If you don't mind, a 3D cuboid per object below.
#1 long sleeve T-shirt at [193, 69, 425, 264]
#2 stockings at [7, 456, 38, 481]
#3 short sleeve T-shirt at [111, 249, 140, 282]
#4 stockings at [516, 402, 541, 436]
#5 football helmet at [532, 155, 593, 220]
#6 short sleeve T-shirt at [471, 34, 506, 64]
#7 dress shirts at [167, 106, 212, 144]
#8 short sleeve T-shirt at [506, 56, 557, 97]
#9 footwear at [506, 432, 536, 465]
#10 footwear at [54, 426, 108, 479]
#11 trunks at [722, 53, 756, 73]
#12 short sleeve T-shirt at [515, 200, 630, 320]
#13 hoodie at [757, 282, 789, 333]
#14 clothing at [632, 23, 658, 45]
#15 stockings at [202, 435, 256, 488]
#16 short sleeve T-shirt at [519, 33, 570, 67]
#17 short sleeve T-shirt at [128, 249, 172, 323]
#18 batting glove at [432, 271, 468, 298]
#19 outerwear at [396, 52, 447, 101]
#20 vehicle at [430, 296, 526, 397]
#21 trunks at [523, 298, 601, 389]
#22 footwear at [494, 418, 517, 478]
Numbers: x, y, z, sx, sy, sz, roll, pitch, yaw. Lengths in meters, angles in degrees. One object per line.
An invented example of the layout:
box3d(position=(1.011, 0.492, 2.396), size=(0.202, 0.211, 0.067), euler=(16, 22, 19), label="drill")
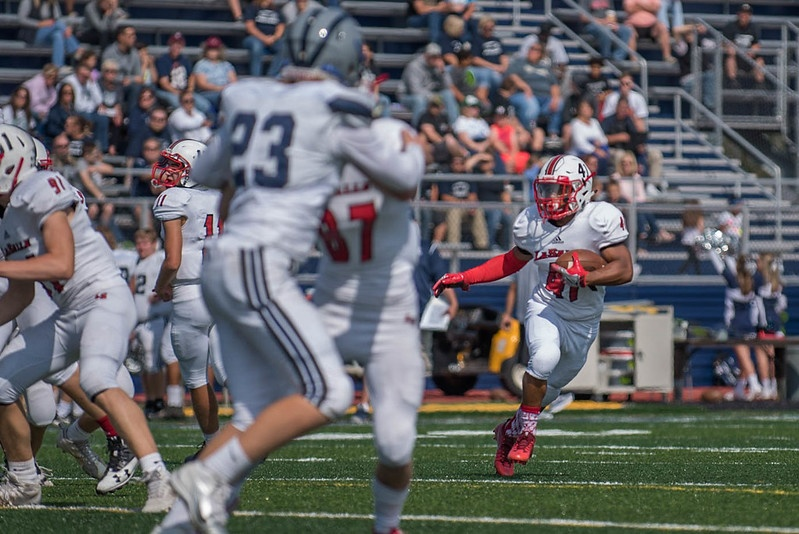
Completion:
box3d(position=(-0.818, -0.773, 13.775), size=(1.604, 1.406, 0.587), euler=(15, -10, 7), label="long sleeve T-shirt")
box3d(position=(-3.212, 1.728, 14.800), size=(0.214, 0.204, 0.196), euler=(-11, -2, 21), label="stockings")
box3d(position=(-2.926, 0.012, 18.355), size=(0.390, 0.357, 0.208), euler=(-1, 0, -4), label="short sleeve T-shirt")
box3d(position=(1.176, 1.411, 15.904), size=(0.250, 0.323, 0.239), euler=(-1, -11, 27), label="stockings")
box3d(position=(1.612, -0.765, 16.344), size=(0.681, 0.507, 0.551), euler=(-10, 5, -44), label="football helmet")
box3d(position=(1.166, -2.892, 23.478), size=(0.432, 0.409, 0.181), euler=(10, -41, -21), label="short sleeve T-shirt")
box3d(position=(-2.636, -1.817, 21.803), size=(0.705, 0.260, 0.638), euler=(-24, 15, -9), label="dress shirts")
box3d(position=(1.820, -2.546, 23.526), size=(0.718, 0.329, 0.854), euler=(2, -3, 23), label="short sleeve T-shirt")
box3d(position=(1.116, 1.654, 15.828), size=(0.144, 0.154, 0.400), euler=(29, 26, 3), label="footwear")
box3d(position=(-2.946, 1.731, 15.850), size=(0.223, 0.477, 0.161), euler=(-27, 22, 42), label="footwear")
box3d(position=(4.707, -2.832, 24.152), size=(0.283, 0.268, 0.121), euler=(-4, 12, 25), label="trunks")
box3d(position=(1.660, 0.183, 16.281), size=(0.777, 0.732, 0.446), euler=(-1, -10, 34), label="short sleeve T-shirt")
box3d(position=(4.599, 0.510, 21.180), size=(0.437, 0.607, 0.235), euler=(1, 10, -23), label="hoodie")
box3d(position=(3.615, -3.429, 25.422), size=(0.338, 0.316, 0.129), euler=(3, -8, -1), label="clothing")
box3d(position=(-1.297, 1.518, 13.453), size=(0.336, 0.387, 0.313), euler=(38, 23, -13), label="stockings")
box3d(position=(1.983, -2.958, 23.846), size=(0.607, 0.394, 0.292), euler=(17, -29, -1), label="short sleeve T-shirt")
box3d(position=(-2.660, 0.221, 18.330), size=(0.488, 0.872, 0.616), euler=(8, 13, -11), label="short sleeve T-shirt")
box3d(position=(0.445, 0.160, 15.703), size=(0.190, 0.122, 0.306), euler=(6, 6, 31), label="batting glove")
box3d(position=(0.389, -2.404, 22.569), size=(0.593, 0.703, 0.669), euler=(-13, 18, -17), label="outerwear")
box3d(position=(0.847, 1.027, 21.231), size=(1.800, 1.028, 1.002), euler=(-6, 11, 10), label="vehicle")
box3d(position=(1.472, 0.787, 16.054), size=(0.677, 0.830, 0.479), euler=(6, 10, 5), label="trunks")
box3d(position=(0.934, 1.684, 15.882), size=(0.178, 0.501, 0.246), euler=(0, -13, -16), label="footwear")
